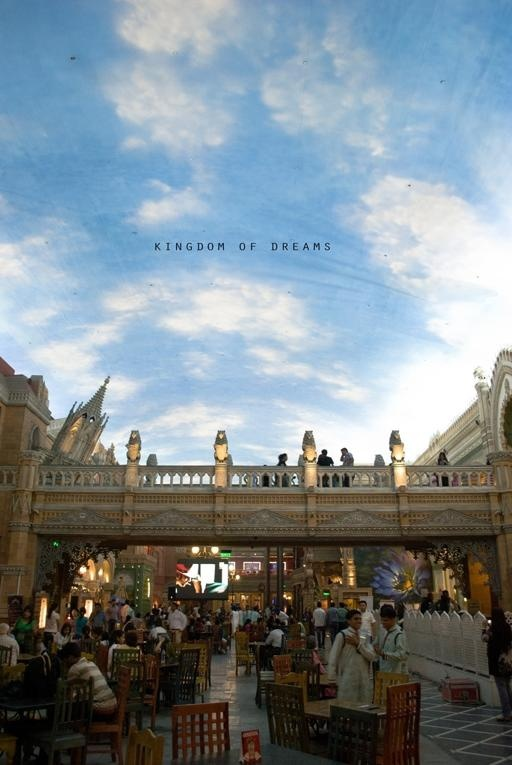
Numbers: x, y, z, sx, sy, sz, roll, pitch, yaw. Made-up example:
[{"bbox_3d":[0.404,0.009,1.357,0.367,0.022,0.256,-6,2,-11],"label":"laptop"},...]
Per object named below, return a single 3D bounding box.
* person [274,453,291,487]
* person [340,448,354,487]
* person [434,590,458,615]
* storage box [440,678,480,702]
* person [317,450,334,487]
[{"bbox_3d":[0.821,2.860,17.989,0.479,1.261,1.183,-3,-21,1],"label":"person"},{"bbox_3d":[3.087,2.817,18.333,0.385,1.479,1.124,-5,-21,8],"label":"person"},{"bbox_3d":[5.263,6.052,15.161,0.535,0.477,1.288,-8,-21,14],"label":"person"},{"bbox_3d":[3.640,5.442,9.575,0.434,0.283,0.520,3,-30,5],"label":"storage box"},{"bbox_3d":[2.329,2.846,18.194,0.469,1.410,1.132,-4,-21,5],"label":"person"}]
